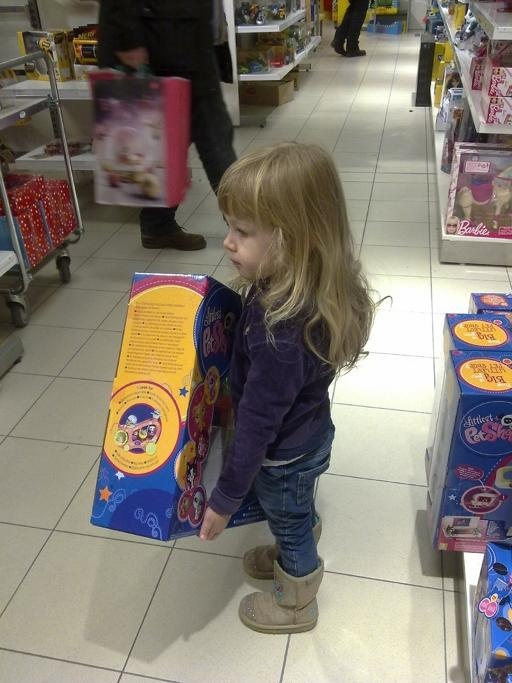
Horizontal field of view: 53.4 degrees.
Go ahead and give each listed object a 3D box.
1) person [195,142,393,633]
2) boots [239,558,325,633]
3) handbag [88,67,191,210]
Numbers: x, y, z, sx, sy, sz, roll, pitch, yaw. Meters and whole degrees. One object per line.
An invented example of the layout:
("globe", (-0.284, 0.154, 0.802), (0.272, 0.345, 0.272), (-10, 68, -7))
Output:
("person", (0.053, 0.198, 0.997), (0.258, 1.080, 0.446), (9, 35, 18))
("boots", (0.066, 0.598, 1.180), (0.190, 0.185, 0.090), (9, 44, 6))
("handbag", (-0.303, -0.495, 1.263), (0.275, 0.317, 0.086), (4, 33, 10))
